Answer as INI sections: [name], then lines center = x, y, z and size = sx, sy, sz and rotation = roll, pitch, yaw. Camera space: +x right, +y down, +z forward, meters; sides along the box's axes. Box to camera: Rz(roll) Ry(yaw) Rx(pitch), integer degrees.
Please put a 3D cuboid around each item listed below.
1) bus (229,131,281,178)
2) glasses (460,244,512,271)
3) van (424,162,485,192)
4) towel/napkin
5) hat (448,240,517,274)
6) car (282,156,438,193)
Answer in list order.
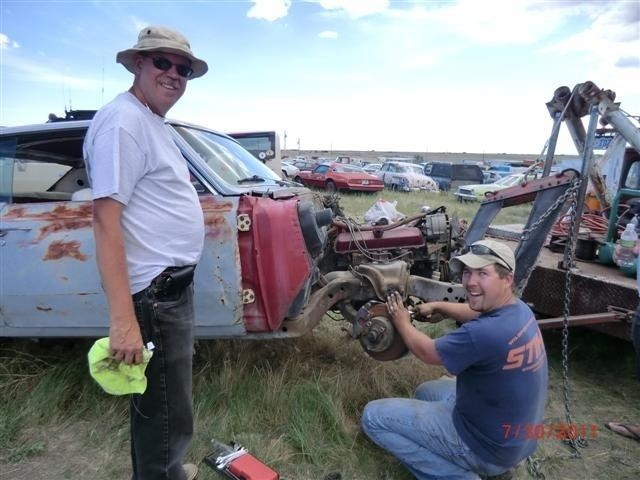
[bus]
center = -1.807, -2.539, 12.396
size = 1.274, 1.103, 0.989
rotation = 1, 12, 1
[glasses]
center = 1.114, 0.108, 2.906
size = 0.276, 0.145, 0.194
rotation = 5, -4, -8
[van]
center = 5.941, -2.911, 19.799
size = 1.392, 1.102, 2.358
rotation = -4, 18, -14
[towel/napkin]
center = -1.074, 0.686, 2.335
size = 0.301, 0.315, 0.122
rotation = -8, 3, -13
[hat]
center = 1.105, 0.121, 2.916
size = 0.348, 0.179, 0.241
rotation = 2, -10, -20
[car]
center = 1.976, -2.527, 17.403
size = 4.574, 1.106, 2.950
rotation = -6, 14, -28
